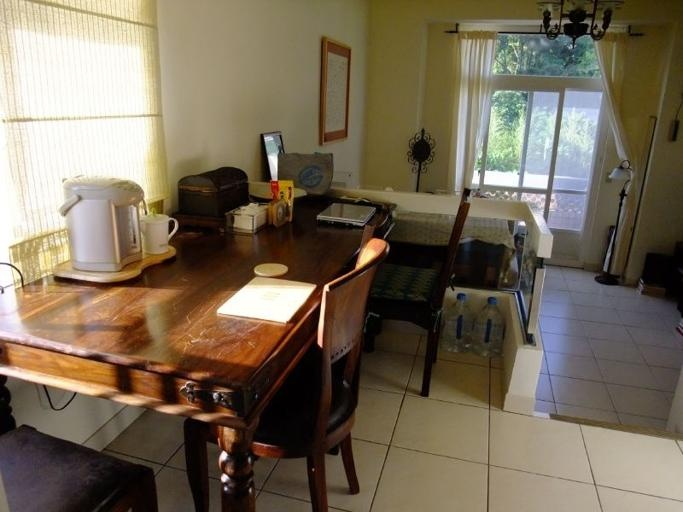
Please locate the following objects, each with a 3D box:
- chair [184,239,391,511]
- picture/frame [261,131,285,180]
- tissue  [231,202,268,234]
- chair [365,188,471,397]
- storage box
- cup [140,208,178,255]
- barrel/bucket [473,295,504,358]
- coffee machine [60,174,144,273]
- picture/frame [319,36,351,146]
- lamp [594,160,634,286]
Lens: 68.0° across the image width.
[{"bbox_3d":[-0.223,0.444,1.861,0.653,1.245,0.622,10,21,12],"label":"chair"},{"bbox_3d":[-0.461,-0.689,3.454,0.032,0.332,0.315,6,13,26],"label":"picture/frame"},{"bbox_3d":[-0.452,-0.188,2.548,0.100,0.081,0.180,10,27,13],"label":"tissue "},{"bbox_3d":[0.385,0.252,2.951,0.513,0.793,0.524,7,2,-5],"label":"chair"},{"bbox_3d":[-0.665,-0.353,2.662,0.241,0.215,0.403,7,20,9],"label":"storage box"},{"bbox_3d":[-0.774,-0.097,2.138,0.138,0.159,0.105,4,22,-4],"label":"cup"},{"bbox_3d":[0.964,0.463,3.287,0.216,0.405,0.225,5,-2,0],"label":"barrel/bucket"},{"bbox_3d":[-0.938,-0.144,1.991,0.271,0.360,0.265,20,25,39],"label":"coffee machine"},{"bbox_3d":[-0.139,-1.474,4.541,0.036,0.903,1.134,-5,19,-23],"label":"picture/frame"},{"bbox_3d":[2.853,-0.361,5.271,0.257,1.247,0.518,9,20,26],"label":"lamp"}]
